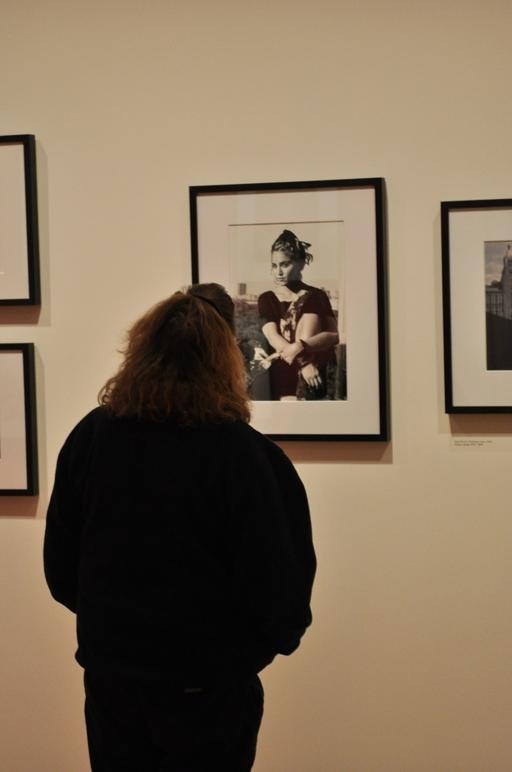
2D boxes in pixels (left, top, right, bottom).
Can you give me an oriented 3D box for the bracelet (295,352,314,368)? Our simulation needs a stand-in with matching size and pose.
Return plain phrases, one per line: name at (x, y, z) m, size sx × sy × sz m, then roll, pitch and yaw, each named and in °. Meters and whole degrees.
bracelet at (0.112, -0.065, 1.599) m, size 0.041 × 0.027 × 0.011 m, roll -26°, pitch -5°, yaw 12°
